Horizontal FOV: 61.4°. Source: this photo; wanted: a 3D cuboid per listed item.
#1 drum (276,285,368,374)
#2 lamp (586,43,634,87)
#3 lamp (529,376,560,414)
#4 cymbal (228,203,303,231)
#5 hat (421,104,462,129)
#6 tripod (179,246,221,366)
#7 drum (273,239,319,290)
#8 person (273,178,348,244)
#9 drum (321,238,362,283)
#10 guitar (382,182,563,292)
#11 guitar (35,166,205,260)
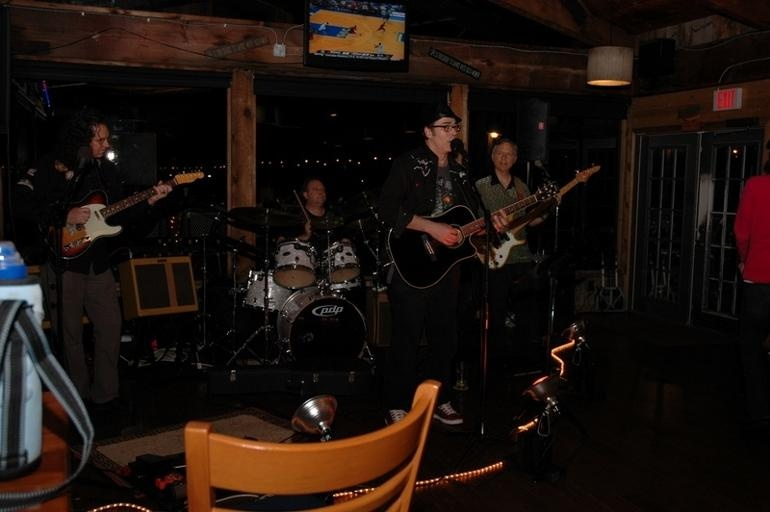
[{"bbox_3d":[-0.577,0.585,5.694,0.941,0.908,0.589,0,4,-16],"label":"drum"},{"bbox_3d":[2.336,-1.953,6.778,0.450,0.320,0.439,-6,12,-38],"label":"lamp"},{"bbox_3d":[0.971,0.843,3.986,0.222,0.199,0.204,5,-8,-43],"label":"lamp"},{"bbox_3d":[-1.024,-0.323,5.640,0.369,0.086,0.359,9,-19,-26],"label":"cymbal"},{"bbox_3d":[0.392,-0.989,4.557,0.249,0.160,0.291,1,11,1],"label":"hat"},{"bbox_3d":[-1.730,0.316,6.208,0.306,1.130,1.046,-2,11,-14],"label":"tripod"},{"bbox_3d":[-0.738,0.086,5.677,0.417,0.407,0.406,0,-17,1],"label":"drum"},{"bbox_3d":[-0.633,-0.410,6.039,0.172,0.714,0.494,-16,-16,43],"label":"person"},{"bbox_3d":[-0.373,0.076,5.811,0.218,0.389,0.441,4,12,20],"label":"drum"},{"bbox_3d":[0.574,-0.179,4.649,1.489,0.581,0.155,-26,10,-14],"label":"guitar"},{"bbox_3d":[-1.948,-0.285,4.761,0.945,0.566,0.277,-7,13,-35],"label":"guitar"}]
